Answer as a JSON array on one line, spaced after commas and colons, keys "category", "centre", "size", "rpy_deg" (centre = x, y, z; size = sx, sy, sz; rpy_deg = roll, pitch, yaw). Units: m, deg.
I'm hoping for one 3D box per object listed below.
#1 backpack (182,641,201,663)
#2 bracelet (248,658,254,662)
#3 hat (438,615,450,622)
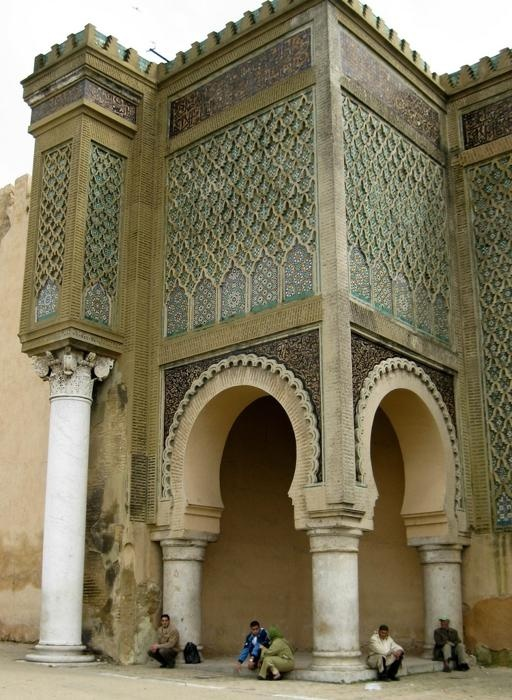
[{"category": "backpack", "centre": [-0.511, 2.379, 6.885], "size": [0.159, 0.229, 0.130], "rpy_deg": [1, -17, -17]}, {"category": "bracelet", "centre": [-0.040, 2.248, 6.364], "size": [0.030, 0.032, 0.031], "rpy_deg": [6, -7, -42]}, {"category": "hat", "centre": [1.499, 2.167, 7.023], "size": [0.070, 0.051, 0.034], "rpy_deg": [17, -54, -16]}]
